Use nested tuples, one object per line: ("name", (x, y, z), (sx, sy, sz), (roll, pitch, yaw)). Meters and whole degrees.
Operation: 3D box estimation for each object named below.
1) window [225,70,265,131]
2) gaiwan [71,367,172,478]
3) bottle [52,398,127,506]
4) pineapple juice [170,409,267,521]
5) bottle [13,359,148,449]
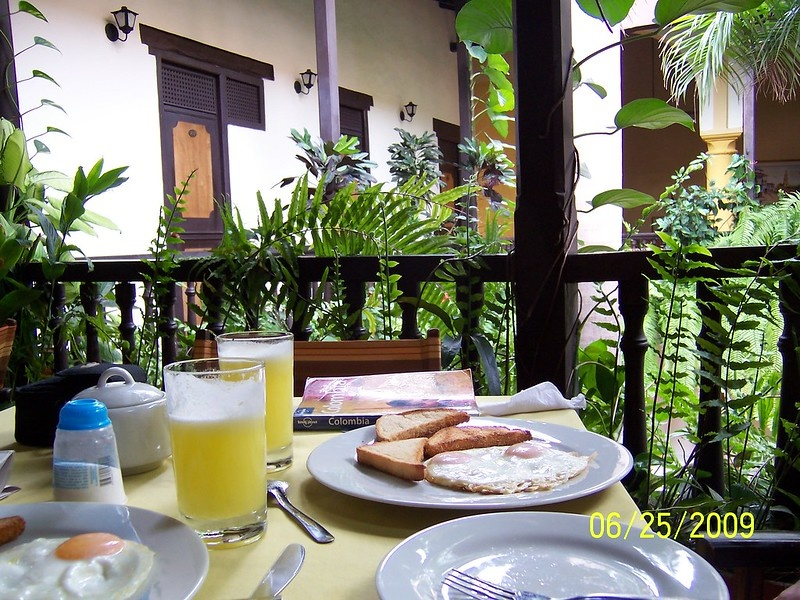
("window", (-1.716, -2.159, 6.261), (0.053, 0.509, 0.580), (6, 11, 29))
("gaiwan", (-0.346, 0.140, 0.771), (0.111, 0.154, 0.149), (-4, 7, -27))
("bottle", (-0.358, 0.177, 0.664), (0.077, 0.126, 0.076), (-1, 5, 0))
("pineapple juice", (-0.192, 0.179, 0.634), (0.106, 0.123, 0.107), (1, -6, -40))
("bottle", (-0.461, 0.149, 0.864), (0.183, 0.110, 0.105), (3, -2, -30))
